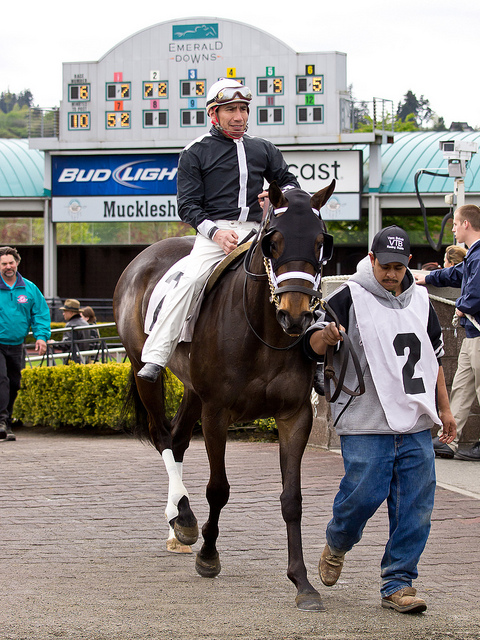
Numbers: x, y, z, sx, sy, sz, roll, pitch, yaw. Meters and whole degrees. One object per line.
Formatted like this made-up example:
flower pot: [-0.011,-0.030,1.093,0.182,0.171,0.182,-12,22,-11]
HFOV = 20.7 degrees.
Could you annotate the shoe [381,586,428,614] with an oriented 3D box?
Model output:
shoe: [0.750,1.309,6.007,0.083,0.085,0.206,4,-9,-36]

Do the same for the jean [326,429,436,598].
jean: [0.656,0.921,6.140,0.498,0.787,0.291,-1,8,2]

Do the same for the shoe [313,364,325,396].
shoe: [0.402,0.308,6.646,0.045,0.144,0.047,-3,-23,14]

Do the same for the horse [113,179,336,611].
horse: [-0.064,0.312,7.116,0.658,2.178,2.606,-3,8,-14]

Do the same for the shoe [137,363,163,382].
shoe: [-0.487,0.297,7.123,0.074,0.059,0.135,4,9,8]

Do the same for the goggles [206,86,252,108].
goggles: [-0.056,-1.216,7.110,0.235,0.099,0.191,-1,8,-3]

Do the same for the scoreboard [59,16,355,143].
scoreboard: [-0.445,-4.839,26.965,6.447,2.920,1.082,0,0,12]

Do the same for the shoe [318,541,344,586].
shoe: [0.429,1.203,6.324,0.079,0.245,0.094,21,-15,-8]

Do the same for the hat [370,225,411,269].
hat: [0.700,-0.330,6.147,0.176,0.207,0.189,0,8,5]
